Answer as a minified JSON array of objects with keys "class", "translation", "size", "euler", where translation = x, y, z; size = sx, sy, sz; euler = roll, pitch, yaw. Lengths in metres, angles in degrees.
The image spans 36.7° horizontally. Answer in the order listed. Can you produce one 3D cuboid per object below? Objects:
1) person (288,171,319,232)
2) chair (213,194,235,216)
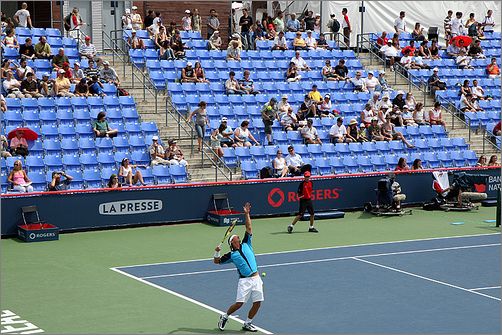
[{"class":"person","translation":[2.195,1.409,30.790],"size":[1.112,2.534,1.070],"euler":[2,-6,-16]},{"class":"chair","translation":[-1.212,1.511,31.958],"size":[0.670,0.999,0.814],"euler":[-1,0,-26]}]
